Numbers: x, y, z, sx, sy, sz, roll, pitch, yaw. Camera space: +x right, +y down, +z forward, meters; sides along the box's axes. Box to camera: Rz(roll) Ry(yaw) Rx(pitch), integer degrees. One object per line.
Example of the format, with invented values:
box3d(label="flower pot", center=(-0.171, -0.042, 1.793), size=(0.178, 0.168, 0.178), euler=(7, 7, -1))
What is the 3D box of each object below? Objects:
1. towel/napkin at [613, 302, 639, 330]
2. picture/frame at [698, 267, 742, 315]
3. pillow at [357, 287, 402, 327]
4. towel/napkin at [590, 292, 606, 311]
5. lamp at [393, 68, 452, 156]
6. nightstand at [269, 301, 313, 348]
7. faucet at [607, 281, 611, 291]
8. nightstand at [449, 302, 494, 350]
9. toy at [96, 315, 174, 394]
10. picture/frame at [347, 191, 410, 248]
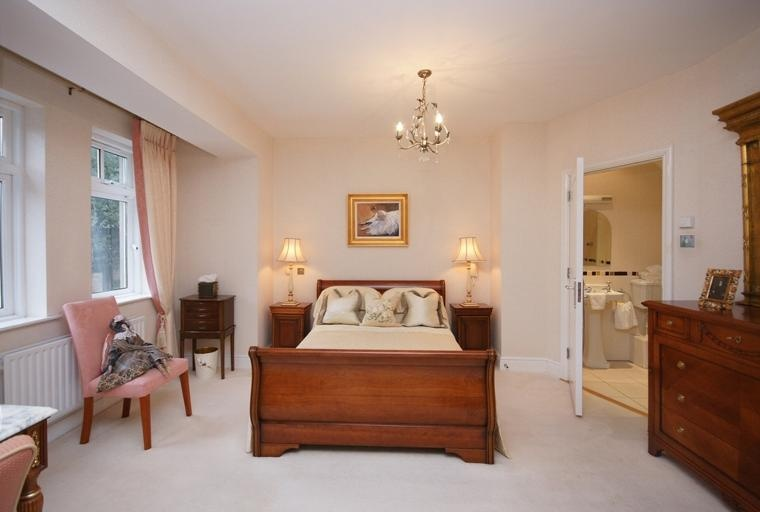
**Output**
box3d(label="towel/napkin", center=(3.152, 0.782, 6.718), size=(0.369, 0.408, 0.125), euler=(0, -4, -7))
box3d(label="picture/frame", center=(3.008, 0.323, 4.598), size=(0.071, 0.403, 0.331), euler=(20, -17, -16))
box3d(label="pillow", center=(0.021, 0.642, 6.332), size=(0.373, 0.391, 0.120), euler=(4, -24, -2))
box3d(label="towel/napkin", center=(2.777, 0.587, 6.650), size=(0.216, 0.219, 0.073), euler=(-9, 3, -4))
box3d(label="lamp", center=(0.476, -1.638, 5.840), size=(0.741, 1.082, 0.704), euler=(1, -8, -2))
box3d(label="nightstand", center=(-1.175, 0.870, 6.796), size=(0.552, 0.810, 0.546), euler=(0, 0, 3))
box3d(label="faucet", center=(3.071, 0.410, 6.997), size=(0.047, 0.096, 0.152), euler=(-2, 0, 24))
box3d(label="nightstand", center=(1.191, 0.895, 6.672), size=(0.580, 0.841, 0.550), euler=(0, -3, 0))
box3d(label="toy", center=(-2.455, 0.910, 5.085), size=(0.596, 0.230, 0.682), euler=(-7, 17, -34))
box3d(label="picture/frame", center=(0.002, -0.504, 7.077), size=(0.771, 0.627, 0.064), euler=(-1, 2, 4))
